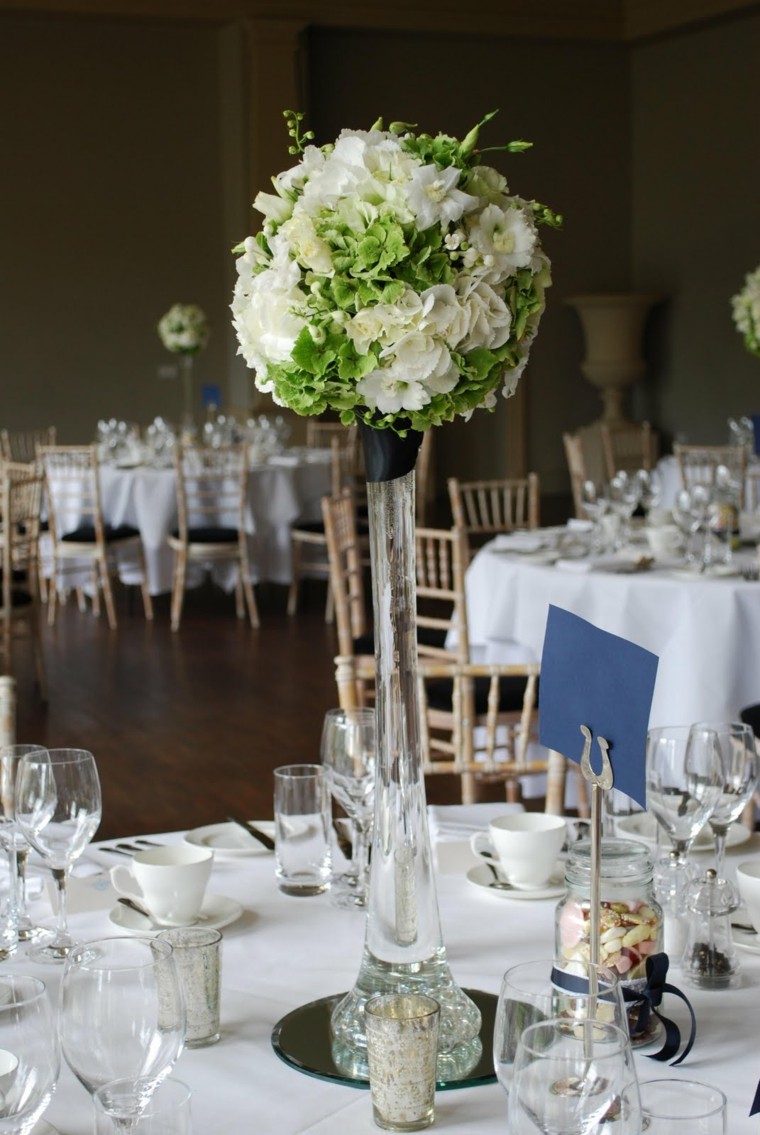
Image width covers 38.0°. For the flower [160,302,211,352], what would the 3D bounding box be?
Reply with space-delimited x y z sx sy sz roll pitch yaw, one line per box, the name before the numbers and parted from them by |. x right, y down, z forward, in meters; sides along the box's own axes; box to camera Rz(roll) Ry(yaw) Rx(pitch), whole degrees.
flower | -1.618 -1.975 9.156 0.341 0.374 0.266 0 6 16

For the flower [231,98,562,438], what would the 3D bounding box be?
flower | 0.008 -0.246 0.987 0.271 0.325 0.263 3 16 14

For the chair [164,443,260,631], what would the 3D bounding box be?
chair | -0.994 -0.188 6.539 0.547 1.070 0.604 -3 6 -14

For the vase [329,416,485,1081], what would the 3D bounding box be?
vase | 0.016 0.133 0.868 0.118 0.485 0.182 -1 6 4

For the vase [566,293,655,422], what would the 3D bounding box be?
vase | 2.452 -2.200 11.420 1.083 1.328 1.008 -3 7 -7

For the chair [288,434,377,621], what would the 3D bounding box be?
chair | -0.293 -0.256 7.013 0.495 1.162 0.470 3 8 29
